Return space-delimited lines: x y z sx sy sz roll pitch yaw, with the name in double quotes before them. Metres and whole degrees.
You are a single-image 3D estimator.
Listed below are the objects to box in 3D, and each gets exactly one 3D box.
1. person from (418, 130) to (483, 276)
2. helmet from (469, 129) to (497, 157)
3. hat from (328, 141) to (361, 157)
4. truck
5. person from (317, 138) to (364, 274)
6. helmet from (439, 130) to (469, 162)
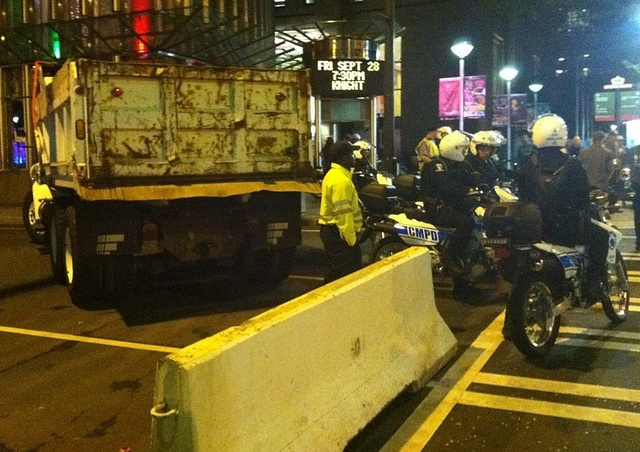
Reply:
"person" 1.891 -0.326 8.730 0.750 2.058 0.689 -1 9 3
"helmet" 2.854 -1.458 10.426 0.433 0.438 0.410 -14 21 -1
"hat" 0.284 -1.014 7.780 0.301 0.206 0.362 4 11 26
"truck" -3.228 -0.868 11.066 3.871 3.352 6.812 -5 8 -34
"person" 0.294 -0.146 7.752 0.517 1.907 0.557 -4 9 -16
"helmet" 2.011 -1.218 8.924 0.402 0.486 0.363 -3 15 -7
